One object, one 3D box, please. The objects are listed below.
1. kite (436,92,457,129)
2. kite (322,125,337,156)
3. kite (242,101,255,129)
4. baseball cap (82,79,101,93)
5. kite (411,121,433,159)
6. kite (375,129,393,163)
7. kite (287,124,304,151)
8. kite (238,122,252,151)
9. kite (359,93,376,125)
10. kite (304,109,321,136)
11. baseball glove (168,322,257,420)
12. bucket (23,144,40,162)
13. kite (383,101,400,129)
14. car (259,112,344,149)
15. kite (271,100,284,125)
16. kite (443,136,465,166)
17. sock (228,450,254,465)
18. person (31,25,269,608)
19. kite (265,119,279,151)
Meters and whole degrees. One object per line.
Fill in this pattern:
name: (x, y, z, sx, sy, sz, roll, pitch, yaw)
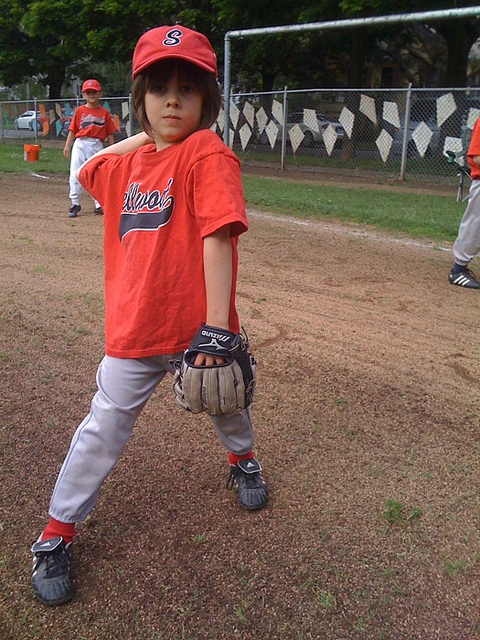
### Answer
kite: (4.230, -4.365, 10.561, 0.032, 0.623, 0.375, -24, 47, -36)
kite: (2.097, -4.315, 12.148, 0.270, 0.601, 0.554, 4, 17, 2)
kite: (0.229, -5.604, 13.810, 0.267, 0.573, 0.067, -1, 30, 28)
baseball cap: (-1.876, -2.920, 6.448, 0.194, 0.136, 0.255, -4, 17, -4)
kite: (3.886, -3.896, 11.005, 0.310, 0.704, 0.627, 4, 17, 3)
kite: (3.326, -4.085, 11.868, 0.049, 1.001, 0.722, -4, 5, -18)
kite: (1.466, -4.800, 13.446, 0.348, 0.629, 0.626, 1, 17, -9)
kite: (0.141, -5.265, 14.534, 0.506, 0.833, 0.136, 5, 29, 10)
kite: (2.833, -4.728, 11.375, 0.386, 0.547, 0.274, 7, 17, 12)
kite: (1.709, -4.798, 12.326, 0.407, 0.526, 0.649, 8, 18, 16)
baseball glove: (-0.073, 0.140, 1.374, 0.240, 0.319, 0.216, 1, 17, -7)
bucket: (-5.063, -4.065, 12.450, 0.310, 0.400, 0.415, -3, 18, -20)
kite: (3.343, -4.576, 11.424, 0.054, 0.598, 0.589, -34, 50, -23)
car: (1.909, -5.050, 14.100, 3.000, 1.162, 1.875, 13, 23, 28)
kite: (0.937, -5.287, 12.907, 0.288, 0.559, 0.582, 5, 17, 3)
kite: (4.293, -3.441, 10.343, 0.320, 0.548, 1.162, 8, 18, 15)
sock: (-0.007, 0.494, 1.841, 0.040, 0.049, 0.114, -2, -7, -37)
person: (-0.291, -0.040, 1.509, 0.607, 1.479, 0.667, -1, 18, -13)
kite: (0.818, -4.934, 13.441, 0.298, 0.647, 0.529, 1, 17, -9)
